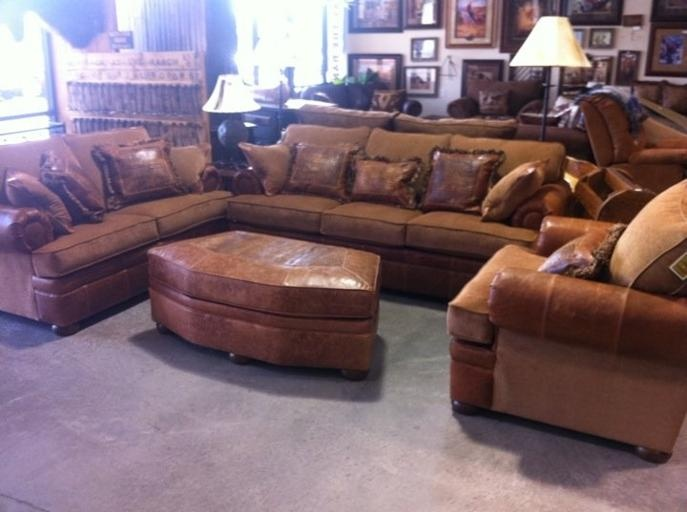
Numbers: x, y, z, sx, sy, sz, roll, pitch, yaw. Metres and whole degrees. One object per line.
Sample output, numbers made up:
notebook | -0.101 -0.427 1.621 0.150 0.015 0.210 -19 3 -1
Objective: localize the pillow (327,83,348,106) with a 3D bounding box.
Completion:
pillow | -0.052 -2.396 8.443 0.114 0.314 0.473 10 19 25

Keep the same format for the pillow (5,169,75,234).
pillow | -1.988 -0.353 3.684 0.363 0.377 0.341 -9 20 -30

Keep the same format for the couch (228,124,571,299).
couch | 0.350 -0.416 4.440 2.486 0.996 0.972 10 23 28

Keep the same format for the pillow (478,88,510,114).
pillow | 2.239 -2.275 8.309 0.362 0.343 0.141 7 13 28

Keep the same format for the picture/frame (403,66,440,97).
picture/frame | 1.264 -2.787 8.993 0.569 0.493 0.045 8 24 26

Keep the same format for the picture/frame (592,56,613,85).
picture/frame | 3.706 -2.653 8.077 0.279 0.371 0.079 8 20 21

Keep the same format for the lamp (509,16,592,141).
lamp | 1.797 -1.530 4.933 0.599 1.007 1.759 8 18 20

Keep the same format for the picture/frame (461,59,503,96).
picture/frame | 2.125 -2.714 8.540 0.654 0.667 0.047 5 15 18

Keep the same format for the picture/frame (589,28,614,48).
picture/frame | 3.652 -3.079 7.961 0.273 0.241 0.027 7 23 25
